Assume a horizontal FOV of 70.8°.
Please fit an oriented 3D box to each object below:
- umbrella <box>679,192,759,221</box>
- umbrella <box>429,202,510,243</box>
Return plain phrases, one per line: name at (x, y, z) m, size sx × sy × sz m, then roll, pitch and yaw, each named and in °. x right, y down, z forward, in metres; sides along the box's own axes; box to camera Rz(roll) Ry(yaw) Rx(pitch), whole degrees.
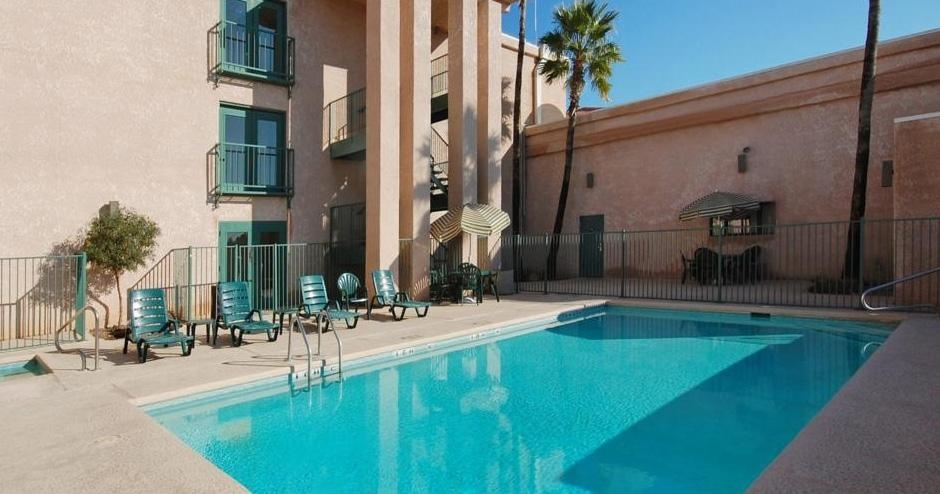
umbrella at (9.947, -1.594, 26.027) m, size 1.648 × 0.657 × 1.704 m, roll -1°, pitch -6°, yaw -34°
umbrella at (-0.099, -0.914, 24.682) m, size 2.826 × 1.326 × 1.519 m, roll -4°, pitch -4°, yaw -6°
